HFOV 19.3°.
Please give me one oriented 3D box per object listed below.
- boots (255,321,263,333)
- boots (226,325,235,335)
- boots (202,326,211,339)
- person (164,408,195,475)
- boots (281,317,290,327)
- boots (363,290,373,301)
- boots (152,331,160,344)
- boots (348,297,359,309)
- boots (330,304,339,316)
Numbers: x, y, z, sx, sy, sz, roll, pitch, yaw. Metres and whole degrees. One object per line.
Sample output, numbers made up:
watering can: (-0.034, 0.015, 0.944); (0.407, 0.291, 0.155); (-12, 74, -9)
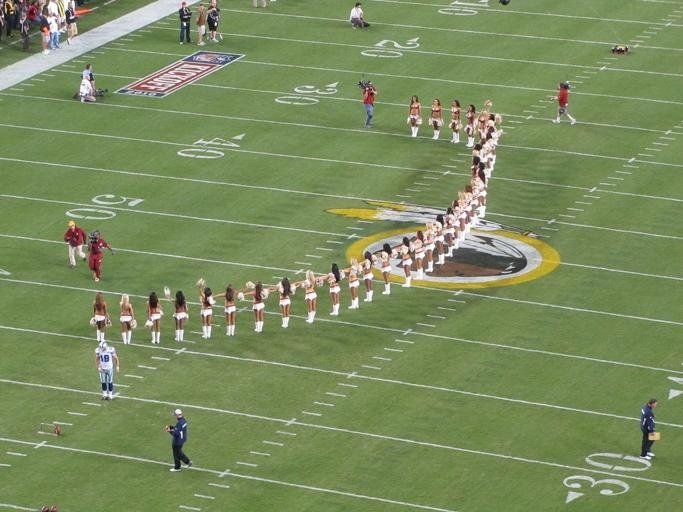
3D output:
boots: (-2.331, 2.038, 59.225); (0.223, 0.326, 0.462); (1, 22, 0)
boots: (-3.141, 2.199, 58.900); (0.298, 0.285, 0.328); (-1, 11, -12)
boots: (-3.827, 2.210, 58.682); (0.252, 0.390, 0.237); (-1, 25, -5)
person: (-4.182, 4.930, 53.140); (0.911, 1.538, 0.752); (2, -1, 4)
boots: (-1.575, 1.920, 59.411); (0.235, 0.348, 0.382); (0, 23, -2)
boots: (0.862, 1.176, 60.833); (0.260, 0.336, 0.458); (2, 22, 1)
boots: (-5.262, 2.382, 58.556); (0.301, 0.312, 0.377); (1, 15, -5)
boots: (0.448, 1.451, 60.333); (0.422, 0.349, 0.237); (6, 18, 12)
boots: (-0.134, 1.628, 60.053); (0.431, 0.342, 0.219); (4, 12, -4)
